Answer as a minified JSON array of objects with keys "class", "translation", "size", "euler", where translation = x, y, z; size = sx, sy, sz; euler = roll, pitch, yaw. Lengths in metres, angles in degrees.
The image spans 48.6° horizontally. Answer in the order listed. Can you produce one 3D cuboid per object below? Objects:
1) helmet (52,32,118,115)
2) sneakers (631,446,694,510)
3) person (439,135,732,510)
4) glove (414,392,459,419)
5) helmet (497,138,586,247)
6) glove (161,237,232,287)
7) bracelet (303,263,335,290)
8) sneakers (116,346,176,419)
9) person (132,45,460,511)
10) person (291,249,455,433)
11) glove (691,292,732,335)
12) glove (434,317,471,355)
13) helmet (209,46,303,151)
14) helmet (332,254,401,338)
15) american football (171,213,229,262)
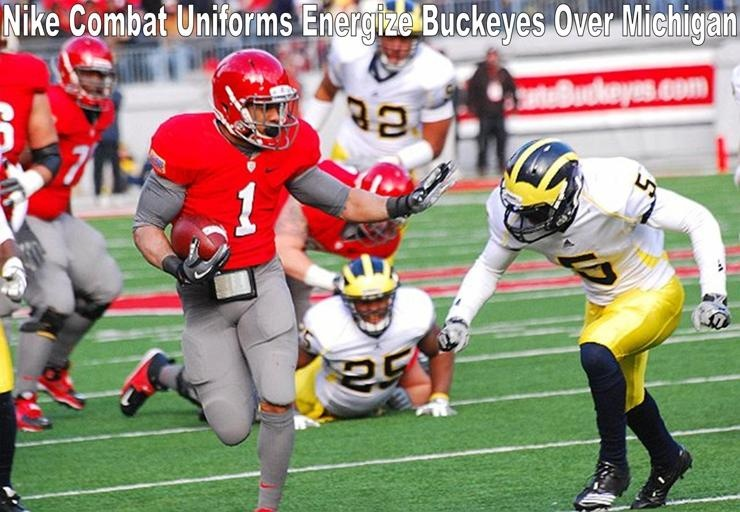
[{"class":"helmet","translation":[-1.868,-1.259,5.385],"size":[0.476,0.416,0.344],"euler":[27,28,31]},{"class":"sneakers","translation":[1.342,1.019,3.738],"size":[0.116,0.256,0.085],"euler":[41,-2,-27]},{"class":"person","translation":[0.990,0.304,3.687],"size":[1.131,1.650,0.584],"euler":[-2,9,5]},{"class":"glove","translation":[0.389,0.907,4.893],"size":[0.154,0.046,0.152],"euler":[-30,17,-15]},{"class":"helmet","translation":[0.776,-0.342,3.662],"size":[0.347,0.354,0.449],"euler":[-1,44,22]},{"class":"glove","translation":[-0.738,0.026,3.493],"size":[0.305,0.217,0.145],"euler":[2,10,26]},{"class":"bracelet","translation":[-0.290,0.128,5.002],"size":[0.187,0.122,0.083],"euler":[18,35,27]},{"class":"sneakers","translation":[-1.394,0.798,5.201],"size":[0.234,0.528,0.196],"euler":[31,-2,24]},{"class":"person","translation":[-0.437,0.125,3.686],"size":[1.141,2.086,0.537],"euler":[-6,10,-20]},{"class":"person","translation":[-0.077,0.526,4.883],"size":[1.140,1.117,0.789],"euler":[-7,33,-13]},{"class":"glove","translation":[1.440,0.235,3.516],"size":[0.125,0.079,0.194],"euler":[-2,35,-1]},{"class":"glove","translation":[0.388,0.369,3.807],"size":[0.122,0.159,0.070],"euler":[42,-5,-1]},{"class":"helmet","translation":[-0.477,-0.706,3.684],"size":[0.351,0.378,0.448],"euler":[-22,49,-41]},{"class":"helmet","translation":[0.029,0.185,4.780],"size":[0.312,0.377,0.404],"euler":[-7,19,4]},{"class":"american football","translation":[-0.748,-0.097,3.514],"size":[0.232,0.190,0.176],"euler":[36,16,38]}]
